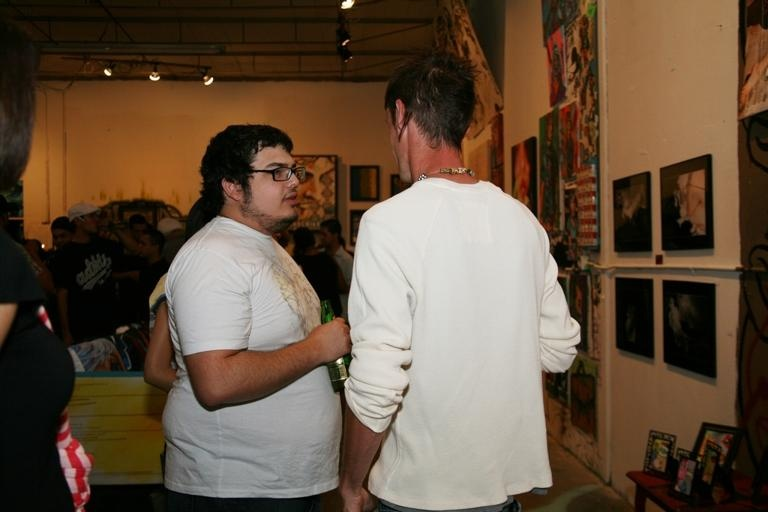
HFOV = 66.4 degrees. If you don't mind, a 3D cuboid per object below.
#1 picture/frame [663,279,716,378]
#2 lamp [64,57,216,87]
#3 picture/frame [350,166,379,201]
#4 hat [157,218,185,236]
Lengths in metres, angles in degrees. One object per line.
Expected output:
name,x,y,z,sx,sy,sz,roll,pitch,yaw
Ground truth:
picture/frame,1.756,0.425,3.413,0.026,0.367,0.327,2,-5,-38
lamp,-4.203,-3.348,10.695,2.156,0.521,1.470,-2,3,-9
picture/frame,-0.390,-1.473,11.407,0.585,0.775,0.100,0,4,-1
hat,-2.577,-0.368,7.124,0.303,0.149,0.426,-3,4,0
